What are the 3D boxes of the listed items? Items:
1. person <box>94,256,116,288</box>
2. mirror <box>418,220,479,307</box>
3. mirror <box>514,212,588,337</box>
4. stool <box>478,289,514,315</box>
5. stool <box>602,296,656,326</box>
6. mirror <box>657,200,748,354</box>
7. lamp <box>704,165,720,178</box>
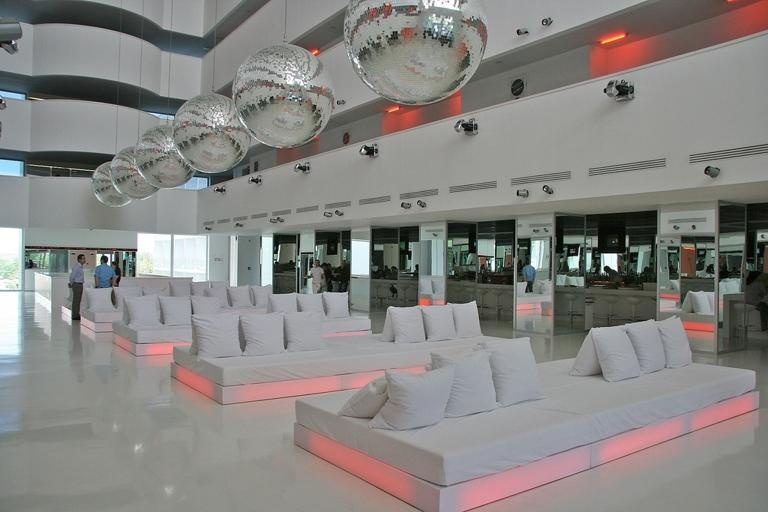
[{"bbox_3d":[-9.071,0.812,15.220,0.636,1.616,0.462,2,16,-32],"label":"person"},{"bbox_3d":[2.102,0.260,15.784,1.826,2.798,1.226,0,4,4],"label":"mirror"},{"bbox_3d":[4.298,0.502,13.078,1.312,3.372,0.472,4,5,43],"label":"mirror"},{"bbox_3d":[3.974,1.575,16.417,0.905,0.796,0.298,3,7,43],"label":"stool"},{"bbox_3d":[7.426,1.622,14.057,0.321,0.529,1.053,-1,0,-34],"label":"stool"},{"bbox_3d":[7.293,0.462,10.715,1.806,3.329,1.067,1,4,19],"label":"mirror"},{"bbox_3d":[5.953,-1.534,8.460,0.200,0.186,0.223,4,4,-32],"label":"lamp"}]
